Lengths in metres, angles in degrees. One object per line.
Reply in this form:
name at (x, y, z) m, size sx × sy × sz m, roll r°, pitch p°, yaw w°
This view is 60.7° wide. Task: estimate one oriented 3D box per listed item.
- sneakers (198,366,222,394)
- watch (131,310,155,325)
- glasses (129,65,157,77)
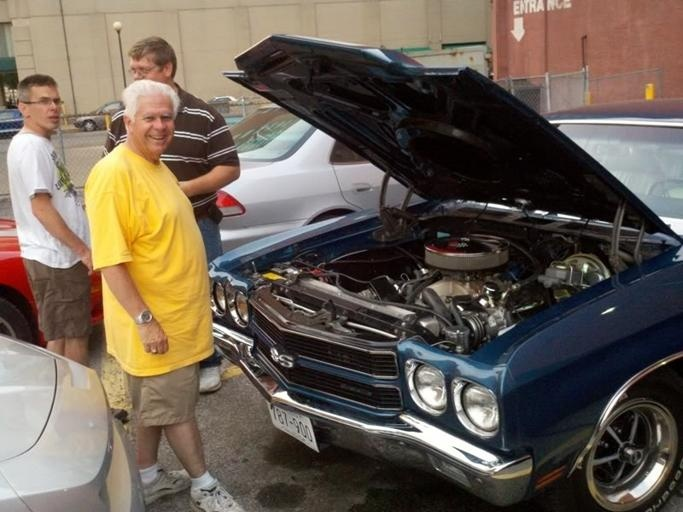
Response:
sneakers at (-0.972, 0.911, 4.358) m, size 0.202 × 0.134 × 0.362 m, roll 0°, pitch -4°, yaw -9°
watch at (-0.944, 0.291, 2.796) m, size 0.066 × 0.042 × 0.083 m, roll 17°, pitch -26°, yaw -38°
glasses at (-1.360, -1.280, 4.012) m, size 0.129 × 0.054 × 0.154 m, roll 12°, pitch 23°, yaw 29°
